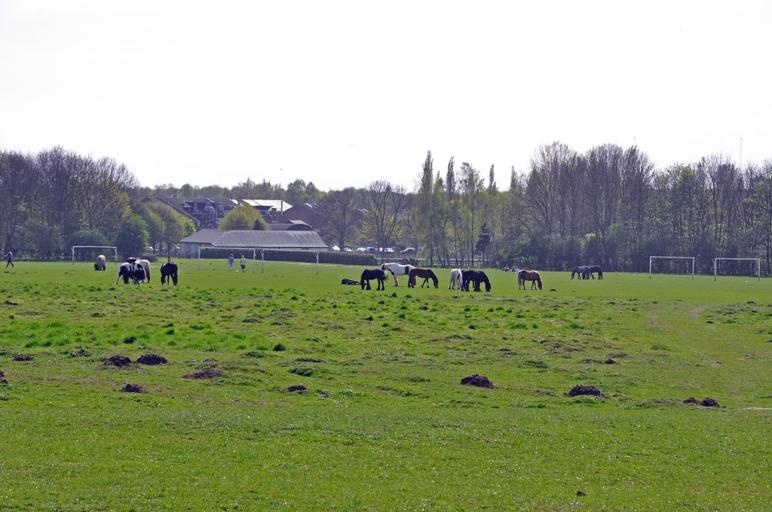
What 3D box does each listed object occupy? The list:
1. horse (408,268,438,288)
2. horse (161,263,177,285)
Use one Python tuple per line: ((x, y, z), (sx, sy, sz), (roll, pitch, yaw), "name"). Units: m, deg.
((2.872, 1.723, 104.634), (2.268, 1.463, 3.250), (2, 5, 1), "horse")
((-16.149, 1.348, 99.317), (1.247, 1.683, 5.512), (1, 5, -10), "horse")
